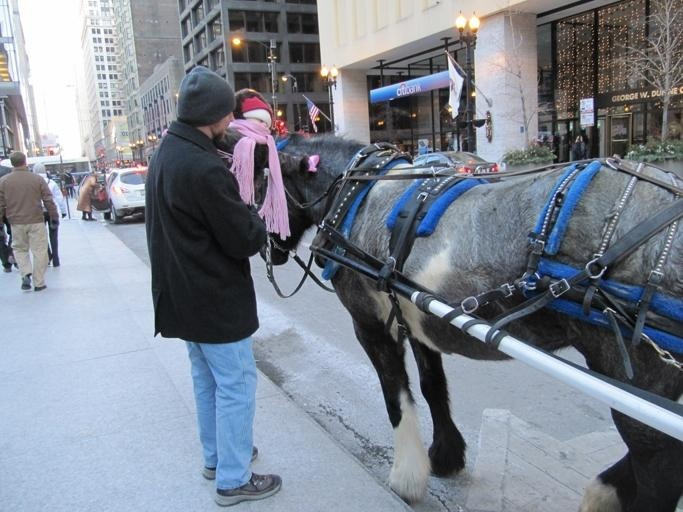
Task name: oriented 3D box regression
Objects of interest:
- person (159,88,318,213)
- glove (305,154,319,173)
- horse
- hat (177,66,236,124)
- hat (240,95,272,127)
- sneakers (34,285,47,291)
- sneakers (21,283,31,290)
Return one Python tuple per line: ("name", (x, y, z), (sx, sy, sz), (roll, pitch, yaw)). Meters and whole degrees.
("person", (-0.583, -0.615, 4.078), (0.395, 0.758, 1.334), (9, 25, 23))
("glove", (-0.209, -0.708, 4.041), (0.089, 0.123, 0.115), (10, 3, -18))
("horse", (0.683, 0.490, 3.212), (0.738, 2.387, 2.544), (-9, 13, -35))
("hat", (-0.798, -0.982, 3.160), (0.351, 0.318, 0.375), (17, 22, 38))
("hat", (-0.623, -1.078, 3.892), (0.202, 0.201, 0.166), (-14, 20, -14))
("sneakers", (-5.053, 0.529, 8.836), (0.202, 0.081, 0.171), (-10, 14, -37))
("sneakers", (-5.224, 0.530, 8.708), (0.114, 0.104, 0.089), (-9, -9, -34))
